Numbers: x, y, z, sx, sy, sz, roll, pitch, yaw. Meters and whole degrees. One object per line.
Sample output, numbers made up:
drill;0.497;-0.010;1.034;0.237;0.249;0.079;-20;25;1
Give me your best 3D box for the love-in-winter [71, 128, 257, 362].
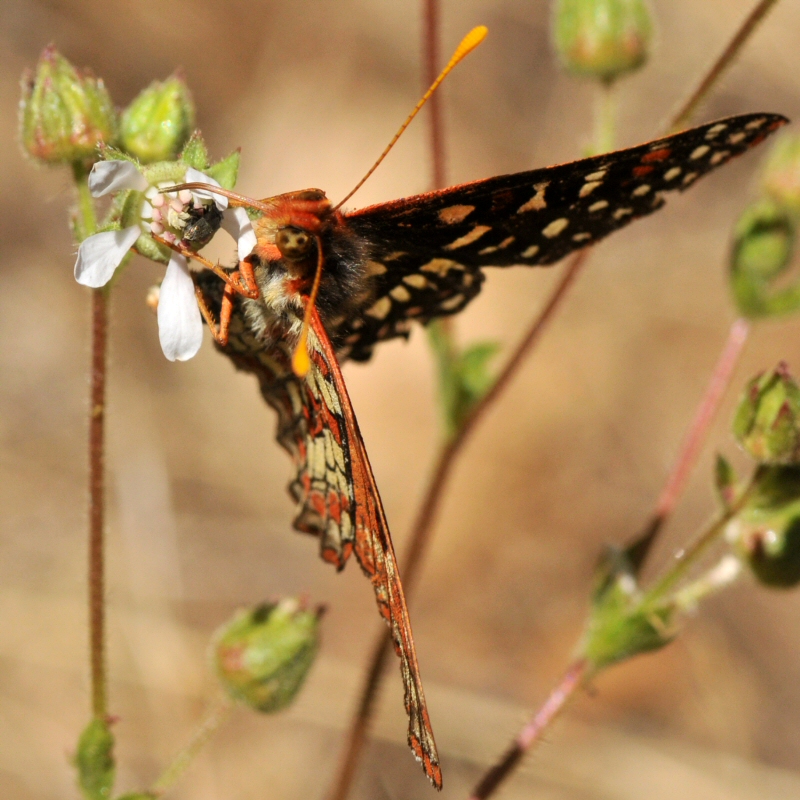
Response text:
love-in-winter;-0.578;-0.382;2.878;0.415;0.316;0.456;18;-55;-10
